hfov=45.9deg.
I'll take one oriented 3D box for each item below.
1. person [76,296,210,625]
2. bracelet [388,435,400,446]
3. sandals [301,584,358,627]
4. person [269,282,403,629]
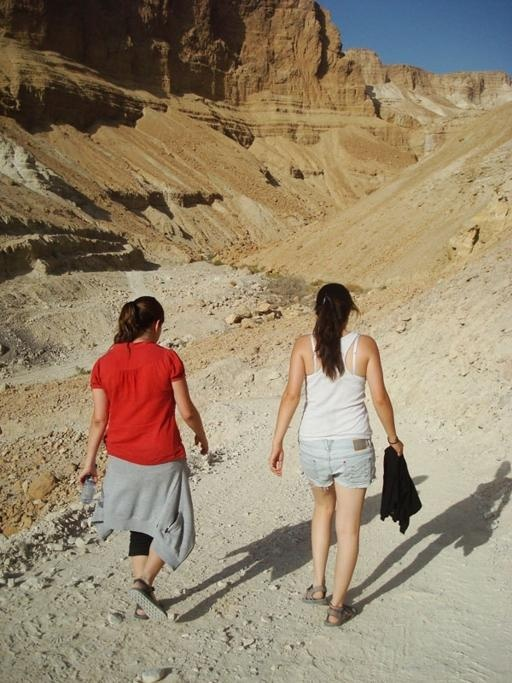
[{"bbox_3d":[-0.617,0.665,3.141,0.598,1.750,0.536,2,15,21],"label":"person"},{"bbox_3d":[0.708,0.513,3.124,0.041,0.068,0.082,-3,-7,-27],"label":"bracelet"},{"bbox_3d":[0.389,1.425,3.269,0.126,0.116,0.315,-5,-6,-2],"label":"sandals"},{"bbox_3d":[0.413,0.600,3.166,0.535,1.784,0.450,10,19,43],"label":"person"}]
